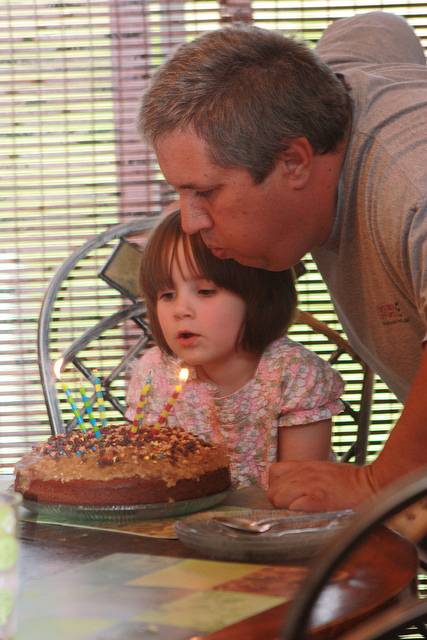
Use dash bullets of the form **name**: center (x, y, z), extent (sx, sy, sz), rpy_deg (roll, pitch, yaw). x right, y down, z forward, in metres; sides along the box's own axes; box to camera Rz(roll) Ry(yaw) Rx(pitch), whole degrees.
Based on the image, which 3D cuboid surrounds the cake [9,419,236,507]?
- **cake**: center (-0.130, 0.196, 1.000), extent (0.285, 0.067, 0.272), rpy_deg (1, 3, 10)
